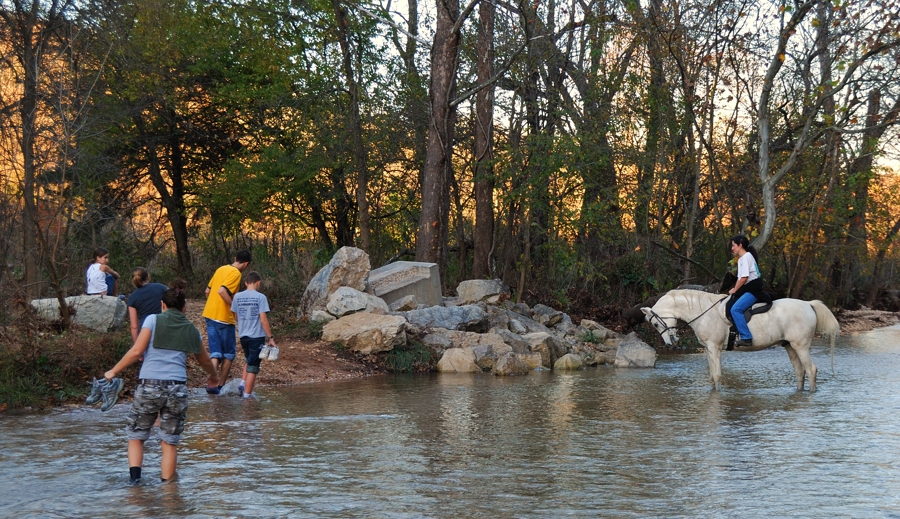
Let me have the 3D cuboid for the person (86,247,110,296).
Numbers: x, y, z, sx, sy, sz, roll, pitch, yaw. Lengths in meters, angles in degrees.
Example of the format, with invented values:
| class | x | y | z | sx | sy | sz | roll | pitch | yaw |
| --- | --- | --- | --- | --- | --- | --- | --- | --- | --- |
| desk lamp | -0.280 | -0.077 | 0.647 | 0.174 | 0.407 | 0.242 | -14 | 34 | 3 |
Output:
| class | x | y | z | sx | sy | sz | roll | pitch | yaw |
| --- | --- | --- | --- | --- | --- | --- | --- | --- | --- |
| person | -13.202 | 0.505 | 38.773 | 0.765 | 1.632 | 1.529 | 0 | -2 | -20 |

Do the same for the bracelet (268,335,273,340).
| class | x | y | z | sx | sy | sz | roll | pitch | yaw |
| --- | --- | --- | --- | --- | --- | --- | --- | --- | --- |
| bracelet | -6.049 | 2.677 | 35.034 | 0.198 | 0.189 | 0.190 | 0 | -12 | -25 |

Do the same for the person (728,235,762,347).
| class | x | y | z | sx | sy | sz | roll | pitch | yaw |
| --- | --- | --- | --- | --- | --- | --- | --- | --- | --- |
| person | 10.755 | 1.132 | 37.801 | 1.098 | 4.007 | 0.720 | 0 | -1 | 0 |
